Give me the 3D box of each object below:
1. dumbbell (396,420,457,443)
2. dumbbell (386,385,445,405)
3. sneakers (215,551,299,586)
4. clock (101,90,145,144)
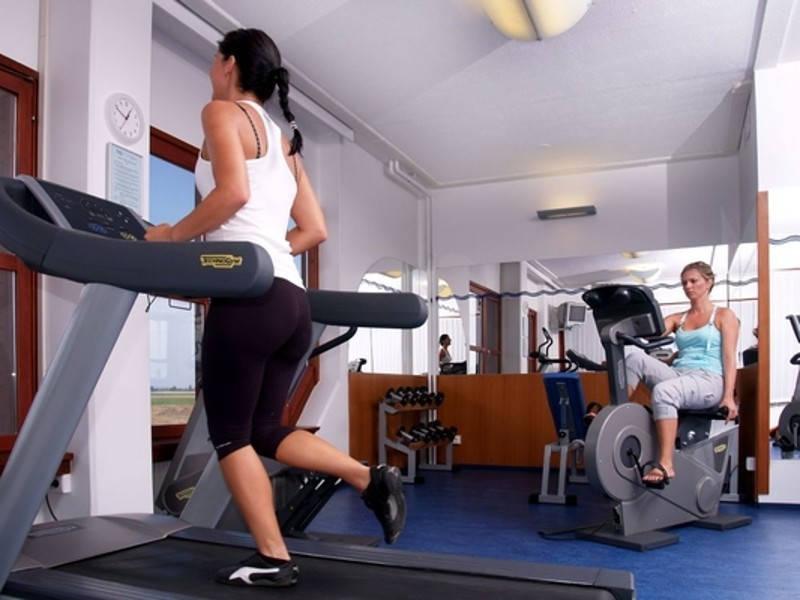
[{"bbox_3d":[0.220,1.254,5.902,0.295,0.129,0.412,6,-8,-38],"label":"dumbbell"},{"bbox_3d":[0.150,0.957,6.001,0.276,0.147,0.402,-3,-18,25],"label":"dumbbell"},{"bbox_3d":[-0.416,0.804,1.841,0.244,0.107,0.095,4,-22,2],"label":"sneakers"},{"bbox_3d":[-1.459,-0.949,3.163,0.051,0.273,0.267,-6,-15,17],"label":"clock"}]
